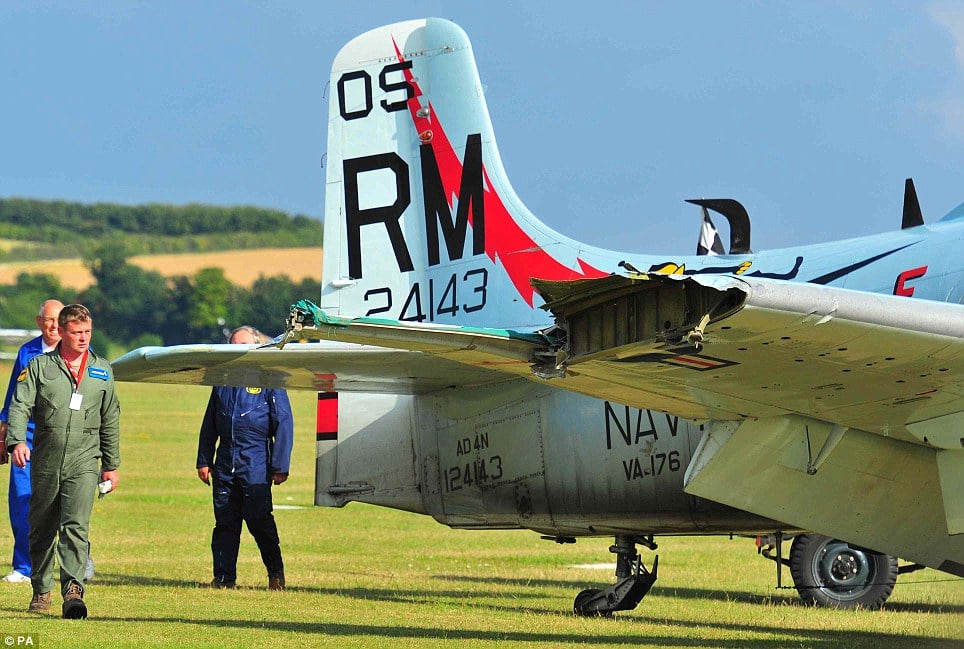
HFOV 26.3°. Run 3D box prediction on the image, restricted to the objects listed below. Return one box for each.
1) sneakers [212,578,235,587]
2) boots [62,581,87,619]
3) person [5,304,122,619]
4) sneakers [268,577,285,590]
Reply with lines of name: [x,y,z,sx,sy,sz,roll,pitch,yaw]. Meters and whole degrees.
sneakers: [-2.780,2.796,22.222,0.279,0.102,0.085,5,-6,-3]
boots: [-4.049,2.757,20.574,0.247,0.381,0.236,2,-3,-11]
person: [-4.204,1.373,20.729,1.100,3.155,0.425,2,-4,-10]
sneakers: [-2.208,2.810,22.240,0.150,0.131,0.144,1,0,18]
